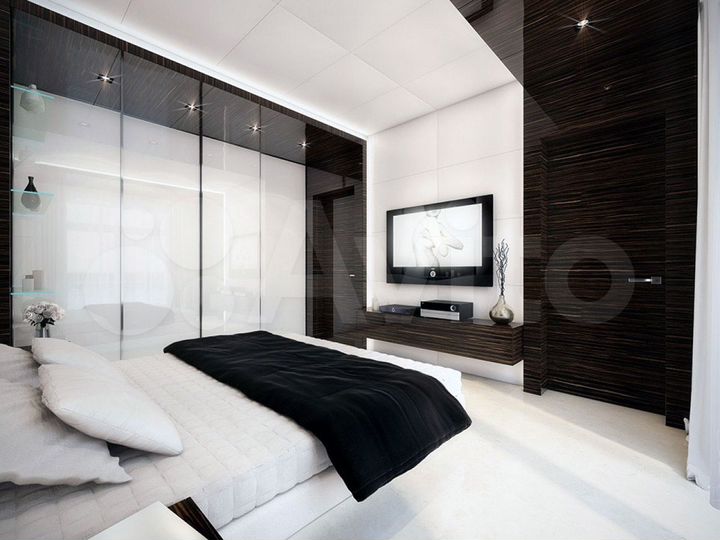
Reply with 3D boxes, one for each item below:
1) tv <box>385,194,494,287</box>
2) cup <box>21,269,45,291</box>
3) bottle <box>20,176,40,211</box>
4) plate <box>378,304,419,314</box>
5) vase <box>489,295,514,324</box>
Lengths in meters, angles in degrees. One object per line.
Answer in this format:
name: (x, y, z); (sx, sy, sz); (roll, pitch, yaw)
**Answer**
tv: (0.947, -0.340, 5.146); (0.025, 0.767, 1.147); (3, -4, -43)
cup: (-2.766, 0.088, 3.930); (0.156, 0.216, 0.151); (1, -1, 0)
bottle: (-2.834, -0.665, 3.914); (0.132, 0.291, 0.020); (0, 0, -34)
plate: (0.473, 0.466, 5.302); (0.219, 0.089, 0.583); (1, -1, -38)
vase: (1.400, 0.387, 4.492); (0.271, 0.342, 0.272); (-3, -6, 15)
